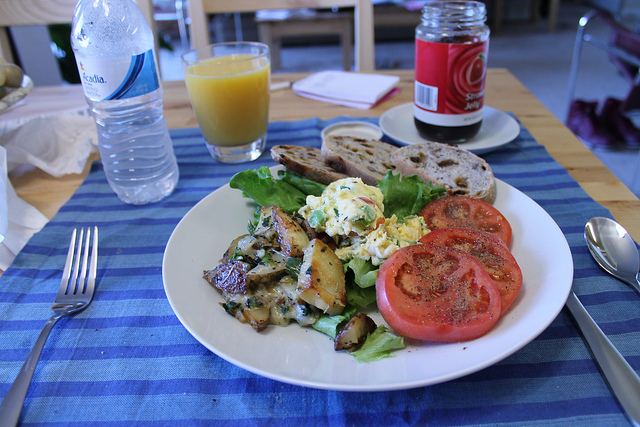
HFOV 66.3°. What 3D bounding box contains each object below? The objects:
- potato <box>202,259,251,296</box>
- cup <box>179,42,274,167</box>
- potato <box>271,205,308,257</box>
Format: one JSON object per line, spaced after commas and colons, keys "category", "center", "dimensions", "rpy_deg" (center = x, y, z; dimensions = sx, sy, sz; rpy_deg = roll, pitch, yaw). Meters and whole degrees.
{"category": "potato", "center": [-0.276, 0.181, 1.563], "dimensions": [0.142, 0.102, 0.120], "rpy_deg": [13, 21, 35]}
{"category": "cup", "center": [-0.386, -0.555, 2.417], "dimensions": [0.509, 0.579, 0.502], "rpy_deg": [-1, 27, 1]}
{"category": "potato", "center": [-0.097, 0.064, 1.588], "dimensions": [0.135, 0.147, 0.129], "rpy_deg": [-7, 21, -17]}
